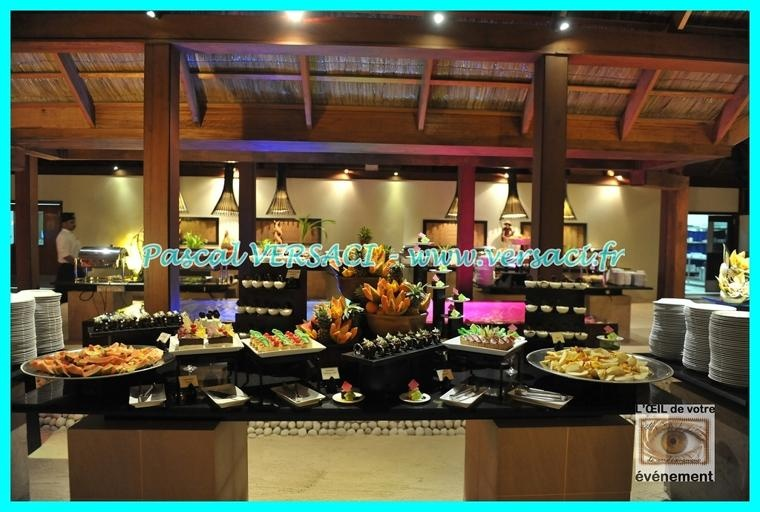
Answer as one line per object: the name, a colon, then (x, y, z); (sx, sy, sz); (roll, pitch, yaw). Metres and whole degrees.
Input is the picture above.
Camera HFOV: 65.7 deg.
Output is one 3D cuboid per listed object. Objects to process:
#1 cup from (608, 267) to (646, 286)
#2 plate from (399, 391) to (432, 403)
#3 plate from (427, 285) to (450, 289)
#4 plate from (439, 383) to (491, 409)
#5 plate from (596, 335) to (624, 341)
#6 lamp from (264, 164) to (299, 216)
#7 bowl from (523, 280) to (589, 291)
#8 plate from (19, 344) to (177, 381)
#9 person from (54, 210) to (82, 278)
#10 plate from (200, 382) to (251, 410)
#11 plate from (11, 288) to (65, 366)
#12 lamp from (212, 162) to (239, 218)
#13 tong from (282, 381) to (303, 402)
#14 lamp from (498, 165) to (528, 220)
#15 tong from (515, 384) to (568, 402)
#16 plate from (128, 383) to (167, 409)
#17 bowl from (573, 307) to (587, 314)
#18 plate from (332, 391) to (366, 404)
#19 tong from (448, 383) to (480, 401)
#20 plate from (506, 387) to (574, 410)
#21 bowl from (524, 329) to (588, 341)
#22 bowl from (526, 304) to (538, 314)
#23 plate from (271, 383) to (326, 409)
cup: (3.863, 0.340, 9.223); (0.573, 0.256, 0.332); (3, 11, 17)
plate: (0.262, 0.996, 4.161); (0.227, 0.057, 0.128); (-4, 11, -22)
plate: (0.528, 0.282, 5.340); (0.146, 0.018, 0.135); (1, -1, -14)
plate: (0.615, 0.991, 4.191); (0.213, 0.079, 0.356); (8, 13, 38)
plate: (1.773, 0.642, 4.603); (0.138, 0.029, 0.129); (3, -5, -16)
lamp: (-1.809, -1.165, 10.627); (0.451, 0.915, 0.819); (-2, 11, -9)
bowl: (1.505, 0.256, 5.021); (0.516, 0.087, 0.247); (2, 10, 8)
plate: (-2.054, 0.763, 4.246); (0.970, 0.163, 0.422); (-3, 11, -19)
person: (-5.047, -0.161, 9.476); (0.353, 1.011, 1.286); (-6, 12, -28)
plate: (-1.090, 0.977, 4.160); (0.222, 0.091, 0.322); (-7, 13, -36)
plate: (-2.930, 0.584, 5.000); (0.600, 0.544, 0.567); (-2, 6, -18)
lamp: (-2.740, -1.144, 10.364); (0.401, 0.958, 0.613); (-3, 12, -14)
tong: (-0.619, 0.965, 4.157); (0.083, 0.019, 0.222); (-9, 7, -19)
lamp: (2.325, -1.035, 10.175); (0.418, 0.909, 1.402); (3, 11, 13)
tong: (1.142, 0.989, 4.208); (0.217, 0.038, 0.137); (9, 5, 28)
plate: (-1.650, 0.989, 4.170); (0.239, 0.072, 0.267); (-3, 11, -18)
bowl: (1.672, 0.454, 4.915); (0.070, 0.032, 0.065); (0, -2, 0)
plate: (-0.213, 0.990, 4.125); (0.225, 0.057, 0.129); (-4, 11, -21)
tong: (0.603, 0.972, 4.209); (0.076, 0.064, 0.286); (-20, -6, 35)
plate: (1.137, 1.003, 4.178); (0.275, 0.051, 0.180); (6, 7, 26)
bowl: (1.469, 0.663, 4.918); (0.522, 0.082, 0.097); (1, 11, 6)
bowl: (1.276, 0.449, 4.947); (0.079, 0.042, 0.073); (1, 11, 0)
plate: (-0.601, 0.977, 4.146); (0.390, 0.084, 0.209); (5, 11, 25)
